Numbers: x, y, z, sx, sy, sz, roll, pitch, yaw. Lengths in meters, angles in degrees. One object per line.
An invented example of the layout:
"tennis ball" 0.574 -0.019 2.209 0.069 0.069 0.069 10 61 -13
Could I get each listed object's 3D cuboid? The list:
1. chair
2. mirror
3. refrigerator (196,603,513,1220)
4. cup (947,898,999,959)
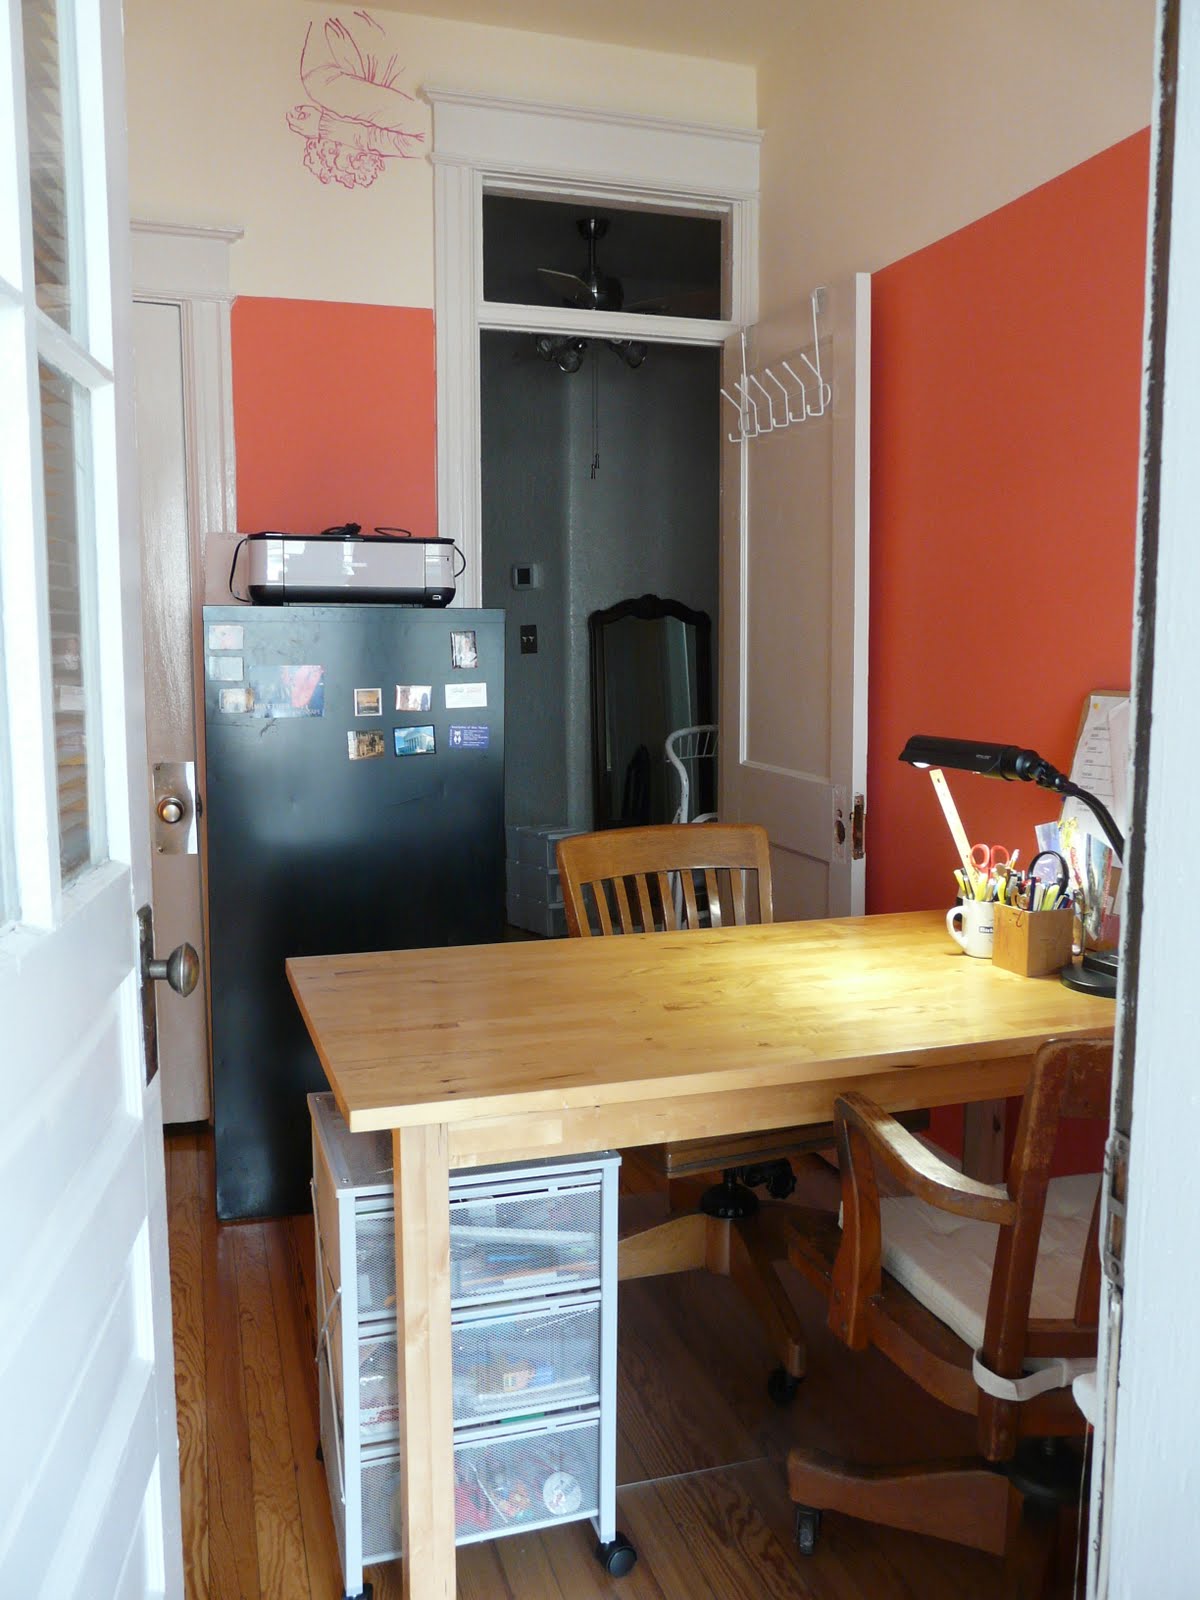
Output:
"chair" 0.390 0.490 1.922 0.678 0.902 1.102 -1 2 -15
"mirror" 0.228 -0.400 5.814 0.511 0.059 1.577 -1 -34 5
"refrigerator" -0.624 0.090 3.802 1.019 2.376 0.994 -1 6 -17
"cup" 0.634 0.222 2.191 0.088 0.107 0.057 -4 8 -22
